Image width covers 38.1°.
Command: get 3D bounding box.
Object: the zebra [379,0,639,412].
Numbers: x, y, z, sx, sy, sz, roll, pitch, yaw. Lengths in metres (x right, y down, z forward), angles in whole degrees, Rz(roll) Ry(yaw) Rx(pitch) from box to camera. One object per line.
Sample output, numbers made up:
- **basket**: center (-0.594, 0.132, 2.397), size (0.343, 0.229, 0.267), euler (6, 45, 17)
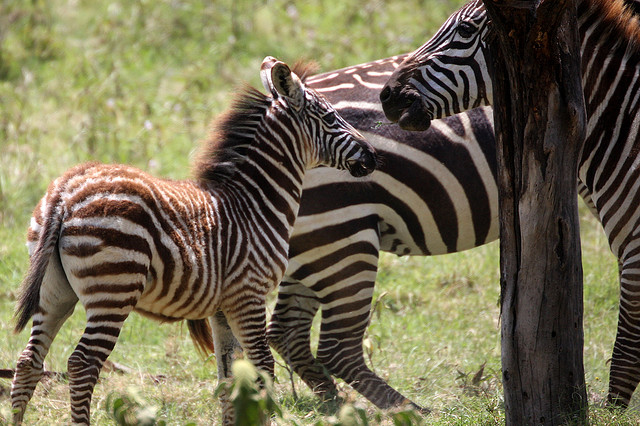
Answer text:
- **zebra**: center (1.478, -0.021, 7.080), size (0.863, 3.584, 2.345), euler (-5, -43, 38)
